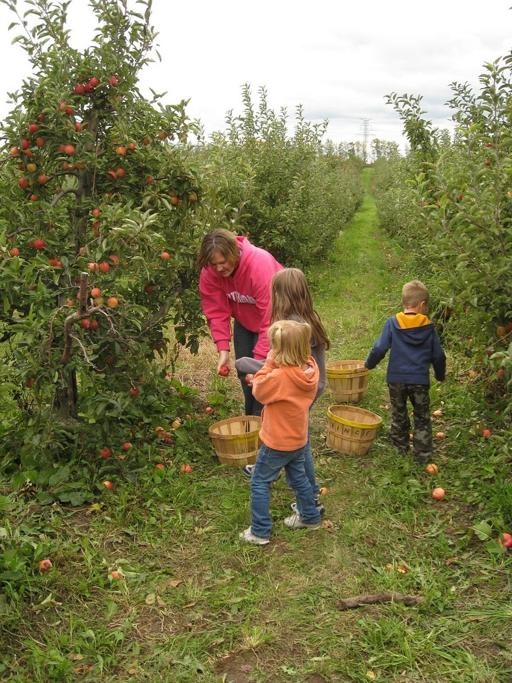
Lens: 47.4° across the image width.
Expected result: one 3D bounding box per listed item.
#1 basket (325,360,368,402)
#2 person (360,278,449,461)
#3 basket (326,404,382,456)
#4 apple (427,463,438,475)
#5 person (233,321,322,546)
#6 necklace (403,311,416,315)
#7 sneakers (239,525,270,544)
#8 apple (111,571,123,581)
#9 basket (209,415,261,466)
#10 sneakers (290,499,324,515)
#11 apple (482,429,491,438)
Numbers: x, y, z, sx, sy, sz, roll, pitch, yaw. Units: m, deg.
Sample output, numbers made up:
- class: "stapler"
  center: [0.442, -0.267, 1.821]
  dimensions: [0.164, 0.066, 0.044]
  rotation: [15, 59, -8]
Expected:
- class: "basket"
  center: [0.860, 0.407, 5.435]
  dimensions: [0.412, 0.286, 0.360]
  rotation: [-1, -1, -40]
- class: "person"
  center: [1.100, 0.206, 4.260]
  dimensions: [0.516, 1.279, 0.296]
  rotation: [-1, 3, 23]
- class: "basket"
  center: [0.704, 0.686, 4.533]
  dimensions: [0.352, 0.241, 0.368]
  rotation: [-4, 18, -29]
- class: "apple"
  center: [1.193, 0.868, 3.951]
  dimensions: [0.066, 0.064, 0.063]
  rotation: [-22, -41, -4]
- class: "person"
  center: [0.122, 0.528, 3.222]
  dimensions: [0.467, 1.269, 0.488]
  rotation: [-2, 3, 4]
- class: "necklace"
  center: [1.086, -0.201, 4.143]
  dimensions: [0.042, 0.035, 0.083]
  rotation: [-4, 3, -36]
- class: "sneakers"
  center: [-0.019, 1.116, 3.345]
  dimensions: [0.179, 0.078, 0.075]
  rotation: [11, 7, 4]
- class: "apple"
  center: [-0.701, 1.175, 2.920]
  dimensions: [0.049, 0.045, 0.047]
  rotation: [24, -3, -16]
- class: "basket"
  center: [-0.162, 0.699, 4.186]
  dimensions: [0.342, 0.219, 0.353]
  rotation: [-5, 5, -32]
- class: "sneakers"
  center: [0.320, 1.032, 3.633]
  dimensions: [0.240, 0.101, 0.079]
  rotation: [3, 6, 6]
- class: "apple"
  center: [1.646, 0.664, 4.161]
  dimensions: [0.060, 0.062, 0.101]
  rotation: [-1, 2, 26]
